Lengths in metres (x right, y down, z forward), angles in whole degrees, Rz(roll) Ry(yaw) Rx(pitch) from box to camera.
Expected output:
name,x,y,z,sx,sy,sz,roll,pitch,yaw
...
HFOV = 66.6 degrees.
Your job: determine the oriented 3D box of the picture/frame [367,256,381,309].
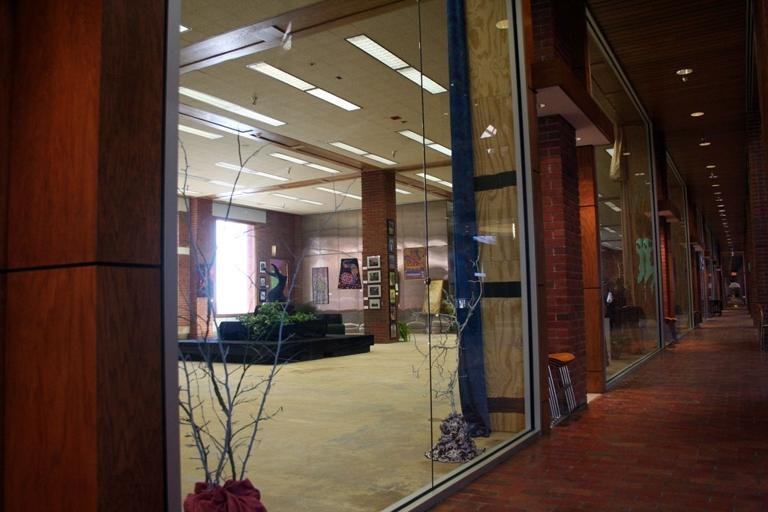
name,x,y,z,sx,sy,sz,roll,pitch,yaw
picture/frame,-0.255,0.670,15.210,0.454,1.418,0.294,-6,-6,13
